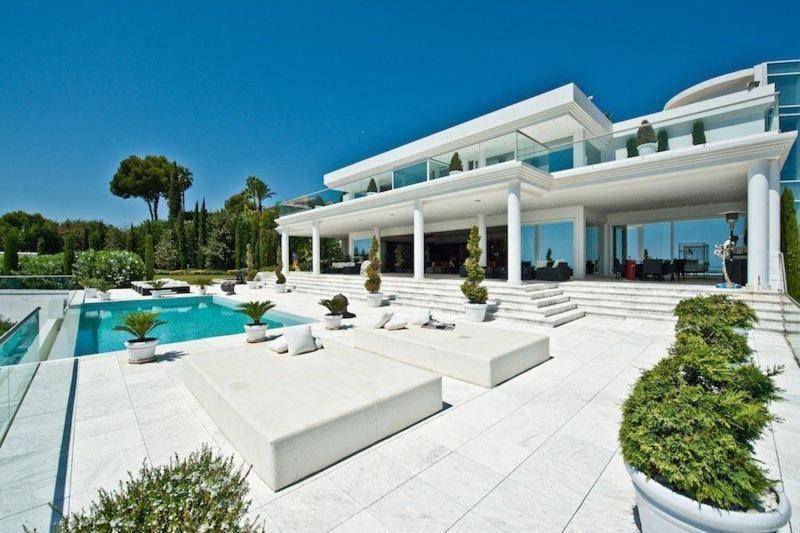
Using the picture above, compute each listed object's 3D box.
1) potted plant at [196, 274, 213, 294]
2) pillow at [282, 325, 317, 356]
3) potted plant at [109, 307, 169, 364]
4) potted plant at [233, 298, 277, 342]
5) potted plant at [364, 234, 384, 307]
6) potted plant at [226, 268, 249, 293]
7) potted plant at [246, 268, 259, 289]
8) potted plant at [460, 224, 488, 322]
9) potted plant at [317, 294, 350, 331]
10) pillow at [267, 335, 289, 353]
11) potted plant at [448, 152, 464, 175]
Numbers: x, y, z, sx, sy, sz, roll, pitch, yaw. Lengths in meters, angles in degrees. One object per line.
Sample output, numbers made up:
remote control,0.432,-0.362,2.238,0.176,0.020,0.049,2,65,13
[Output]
potted plant,-13.970,1.253,33.154,1.180,1.081,1.201,1,-1,-12
pillow,-3.542,2.612,16.321,0.763,0.736,0.289,-6,-16,-31
potted plant,-9.681,2.607,17.217,1.217,1.864,0.872,-1,-1,-25
potted plant,-5.883,2.210,19.240,1.766,1.786,1.794,0,2,-11
potted plant,-1.371,0.235,23.905,0.817,3.592,1.600,-1,-1,-1
potted plant,-11.920,1.071,34.412,1.801,1.253,2.199,9,-16,-39
potted plant,-10.510,0.851,33.027,0.749,1.364,1.272,-1,-1,-20
potted plant,3.299,0.270,20.889,1.081,3.051,1.013,-1,-1,9
potted plant,-2.865,1.974,20.365,1.306,1.478,1.436,0,-4,-4
pillow,-4.187,2.708,16.091,0.589,0.290,0.570,4,6,36
potted plant,2.812,-5.403,24.113,0.737,0.784,0.491,-1,-1,6
